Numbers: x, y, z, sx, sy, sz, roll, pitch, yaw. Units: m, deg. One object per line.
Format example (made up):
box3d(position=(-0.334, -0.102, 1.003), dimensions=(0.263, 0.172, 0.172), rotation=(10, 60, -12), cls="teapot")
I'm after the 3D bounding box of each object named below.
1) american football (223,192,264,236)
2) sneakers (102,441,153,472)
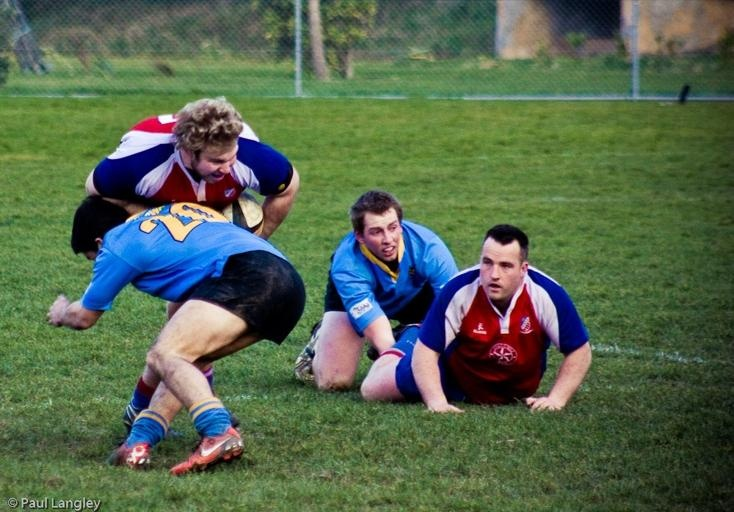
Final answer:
box3d(position=(-0.905, -0.346, 7.175), dimensions=(0.333, 0.237, 0.309), rotation=(9, 59, 5), cls="american football")
box3d(position=(-1.581, 1.371, 6.369), dimensions=(0.355, 0.148, 0.124), rotation=(-10, 7, 25), cls="sneakers")
